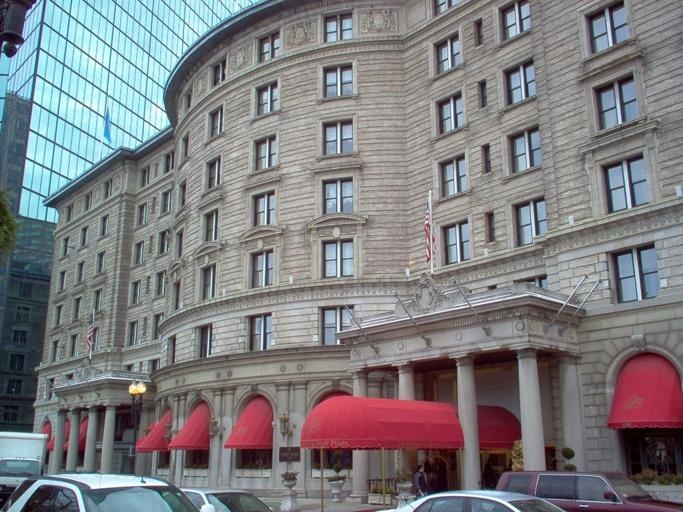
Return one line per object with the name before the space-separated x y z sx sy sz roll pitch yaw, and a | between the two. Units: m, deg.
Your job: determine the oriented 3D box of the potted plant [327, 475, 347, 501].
potted plant | -0.123 13.366 37.918 1.080 1.025 1.114 -1 -21 5
